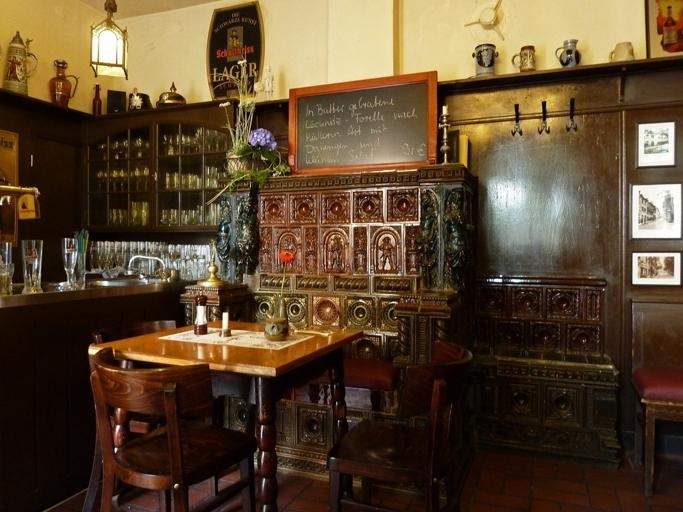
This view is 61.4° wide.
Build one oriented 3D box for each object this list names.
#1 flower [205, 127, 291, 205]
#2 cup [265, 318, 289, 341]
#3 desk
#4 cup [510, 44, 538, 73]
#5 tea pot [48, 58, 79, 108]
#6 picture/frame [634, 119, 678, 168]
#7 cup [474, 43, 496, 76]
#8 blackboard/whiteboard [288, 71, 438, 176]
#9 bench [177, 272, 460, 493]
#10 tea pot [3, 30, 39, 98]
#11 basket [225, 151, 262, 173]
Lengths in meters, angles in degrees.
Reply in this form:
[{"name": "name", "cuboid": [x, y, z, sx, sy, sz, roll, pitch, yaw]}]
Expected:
[{"name": "flower", "cuboid": [-0.839, -0.811, 4.881, 0.611, 0.395, 0.635, -26, 4, -38]}, {"name": "cup", "cuboid": [-0.421, 0.465, 3.680, 0.140, 0.103, 0.113, 2, -5, -7]}, {"name": "desk", "cuboid": [-0.603, 0.659, 3.540, 1.360, 0.906, 1.345, -1, -2, 24]}, {"name": "cup", "cuboid": [1.527, -1.635, 4.807, 0.200, 0.288, 0.301, -2, 3, 18]}, {"name": "tea pot", "cuboid": [-2.933, -1.756, 5.946, 0.217, 0.465, 0.227, 3, 1, 0]}, {"name": "picture/frame", "cuboid": [2.514, -0.896, 4.553, 0.362, 0.516, 0.035, 1, 0, 16]}, {"name": "cup", "cuboid": [1.201, -1.624, 4.809, 0.172, 0.292, 0.157, -2, 2, 0]}, {"name": "blackboard/whiteboard", "cuboid": [0.201, -1.099, 4.929, 0.978, 0.599, 0.049, 0, -3, 19]}, {"name": "bench", "cuboid": [-0.202, 0.882, 4.649, 2.172, 1.565, 1.156, 2, 1, 20]}, {"name": "tea pot", "cuboid": [-3.184, -1.848, 5.546, 0.246, 0.461, 0.520, -3, 3, -10]}, {"name": "basket", "cuboid": [-0.854, -0.750, 4.799, 0.188, 0.108, 0.189, 0, 0, -37]}]
